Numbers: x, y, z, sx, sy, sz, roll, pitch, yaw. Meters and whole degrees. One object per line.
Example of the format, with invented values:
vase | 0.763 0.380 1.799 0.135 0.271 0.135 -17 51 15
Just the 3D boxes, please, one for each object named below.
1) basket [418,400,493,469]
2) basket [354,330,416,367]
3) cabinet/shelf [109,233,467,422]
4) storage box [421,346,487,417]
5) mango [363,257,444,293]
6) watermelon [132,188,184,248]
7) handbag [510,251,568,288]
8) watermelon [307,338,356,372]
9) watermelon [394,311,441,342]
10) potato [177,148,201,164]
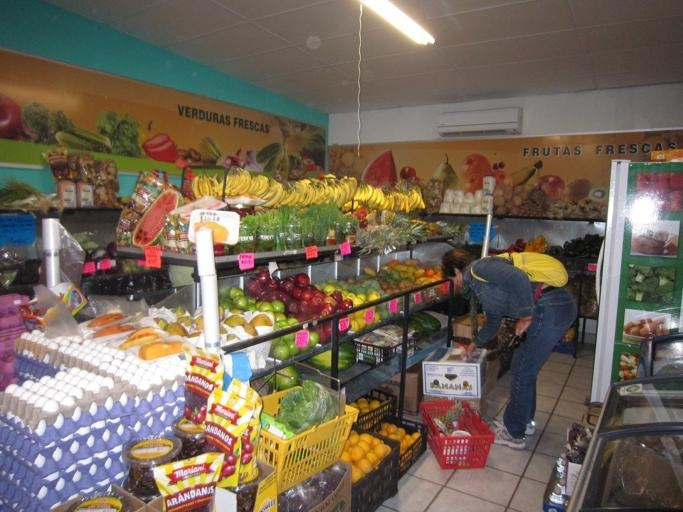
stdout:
basket | 0.899 1.414 3.588 0.440 0.500 0.480 1 10 -22
basket | 0.332 0.721 3.634 0.336 0.235 0.413 11 15 36
cabinet/shelf | -0.263 0.472 2.924 0.490 1.458 2.429 7 10 37
storage box | 0.955 1.058 3.862 0.527 0.582 0.370 1 5 10
mango | 0.612 0.117 4.177 0.630 0.286 0.415 12 12 38
watermelon | -1.133 -0.229 2.702 0.272 0.339 0.184 1 8 18
handbag | 1.635 0.098 3.661 0.410 0.301 0.229 7 12 18
watermelon | -0.065 0.744 3.351 0.307 0.190 0.183 -7 0 -3
watermelon | 0.777 0.658 4.272 0.247 0.126 0.332 -6 6 -16
potato | -1.968 -1.271 5.670 0.114 0.202 0.259 -8 -5 19
